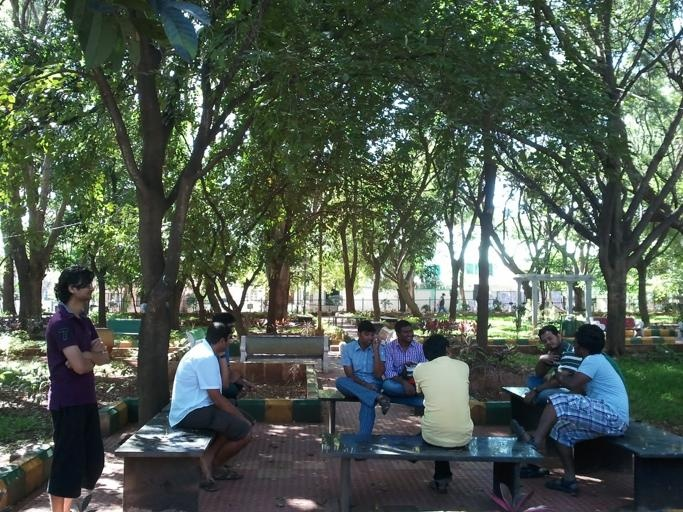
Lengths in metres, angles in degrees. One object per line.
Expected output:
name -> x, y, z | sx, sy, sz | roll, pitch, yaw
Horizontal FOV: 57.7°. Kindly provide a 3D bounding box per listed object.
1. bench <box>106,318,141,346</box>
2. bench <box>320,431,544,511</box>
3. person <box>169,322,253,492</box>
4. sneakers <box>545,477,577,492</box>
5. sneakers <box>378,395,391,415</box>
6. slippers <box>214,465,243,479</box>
bench -> -7.166, 2.490, 20.393 | 0.937, 0.842, 2.865 | 1, -7, -21
bench -> 0.988, 2.488, 7.390 | 2.373, 0.771, 1.564 | -1, -6, -4
person -> -1.597, 1.859, 7.762 | 1.003, 1.977, 0.954 | 5, -8, -25
sneakers -> 2.655, 2.768, 7.496 | 0.145, 0.153, 0.328 | 6, -1, -45
sneakers -> 0.561, 1.993, 8.260 | 0.142, 0.255, 0.293 | 0, -6, -6
slippers -> -1.414, 2.717, 7.764 | 0.369, 0.170, 0.140 | 0, 1, -11
